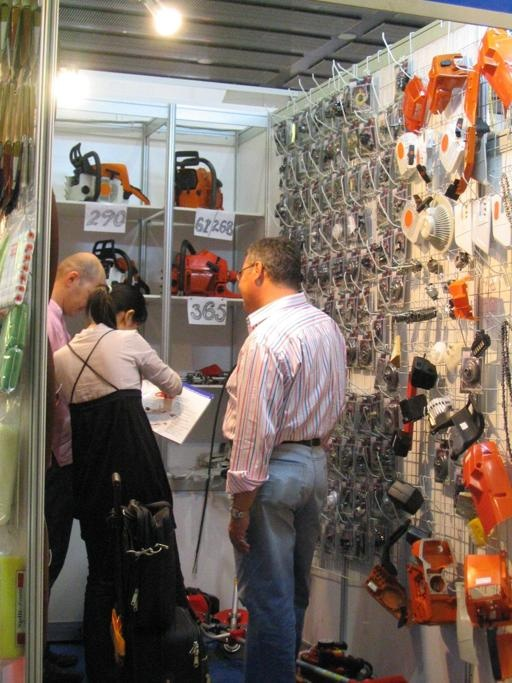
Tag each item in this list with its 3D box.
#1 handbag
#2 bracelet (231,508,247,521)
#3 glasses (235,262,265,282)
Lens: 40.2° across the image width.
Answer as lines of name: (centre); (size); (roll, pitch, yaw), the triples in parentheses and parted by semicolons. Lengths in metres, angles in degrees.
handbag: (-0.360, 0.756, 2.322); (0.187, 0.428, 0.178); (1, -3, -10)
bracelet: (-0.055, 0.508, 2.036); (0.048, 0.033, 0.022); (-1, -3, 30)
glasses: (-0.012, -0.240, 2.343); (0.074, 0.023, 0.070); (-29, -18, 39)
